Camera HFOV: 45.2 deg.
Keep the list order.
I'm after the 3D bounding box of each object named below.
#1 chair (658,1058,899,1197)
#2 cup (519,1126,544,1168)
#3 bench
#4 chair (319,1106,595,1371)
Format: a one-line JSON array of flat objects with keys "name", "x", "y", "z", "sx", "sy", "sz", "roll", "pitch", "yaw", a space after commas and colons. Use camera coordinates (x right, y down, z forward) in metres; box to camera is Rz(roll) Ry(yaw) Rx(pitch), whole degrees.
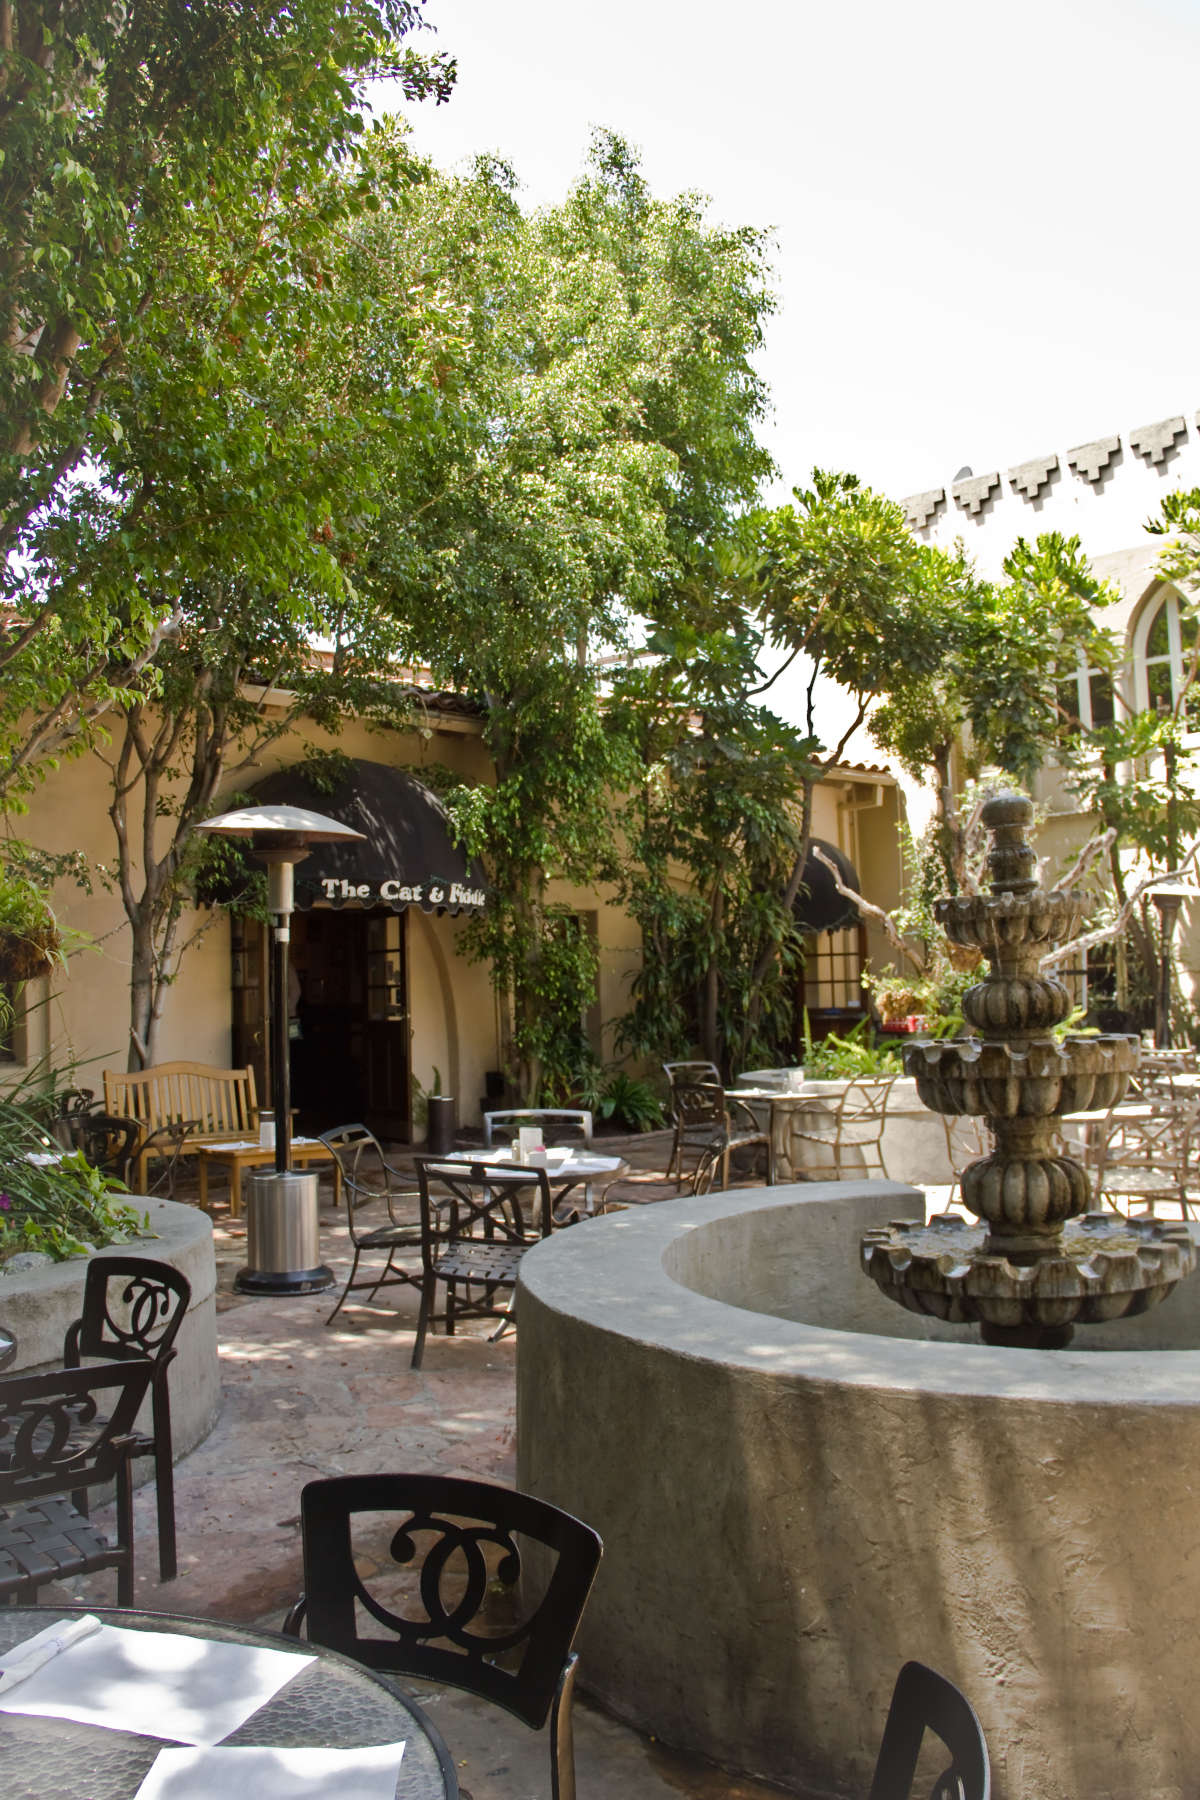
[{"name": "chair", "x": 1.184, "y": 1.614, "z": 9.997, "sx": 1.244, "sy": 0.638, "sz": 0.979, "roll": -9, "pitch": -11, "yaw": 43}, {"name": "cup", "x": -0.342, "y": 1.169, "z": 6.808, "sx": 0.135, "sy": 0.240, "sz": 0.138, "roll": 3, "pitch": 7, "yaw": 0}, {"name": "bench", "x": -3.043, "y": 1.740, "z": 10.790, "sx": 0.949, "sy": 0.943, "sz": 1.397, "roll": 2, "pitch": -8, "yaw": -31}, {"name": "chair", "x": -0.711, "y": 1.583, "z": 6.766, "sx": 1.019, "sy": 1.618, "sz": 1.116, "roll": 3, "pitch": 8, "yaw": 26}]
